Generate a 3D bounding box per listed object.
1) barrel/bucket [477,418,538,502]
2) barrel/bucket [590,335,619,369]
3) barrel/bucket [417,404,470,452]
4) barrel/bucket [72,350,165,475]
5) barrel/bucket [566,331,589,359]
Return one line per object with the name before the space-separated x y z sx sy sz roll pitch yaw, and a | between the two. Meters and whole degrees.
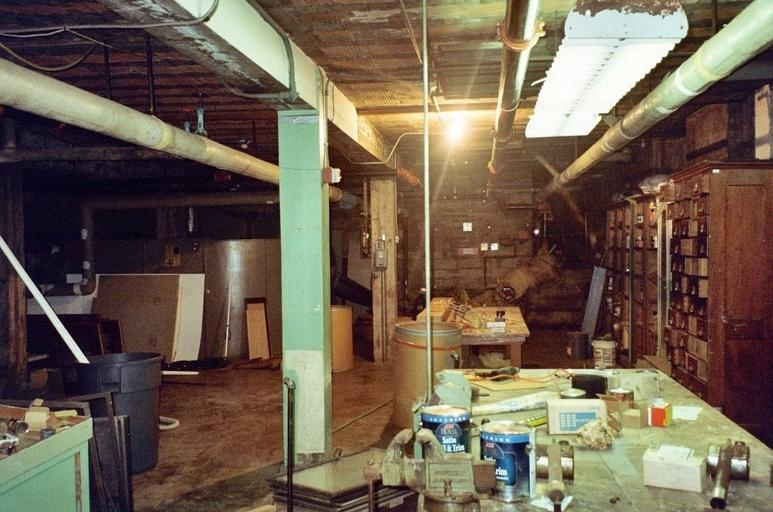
barrel/bucket | 0.847 1.432 4.379 0.532 0.510 0.494 0 0 0
barrel/bucket | 4.016 1.749 11.004 0.669 0.569 0.589 1 4 19
barrel/bucket | 0.411 1.188 4.313 0.334 0.322 0.314 0 -2 0
barrel/bucket | -3.074 1.889 7.214 0.869 1.350 0.419 -8 10 -20
barrel/bucket | 3.899 1.728 12.021 0.536 0.497 0.497 0 7 0
